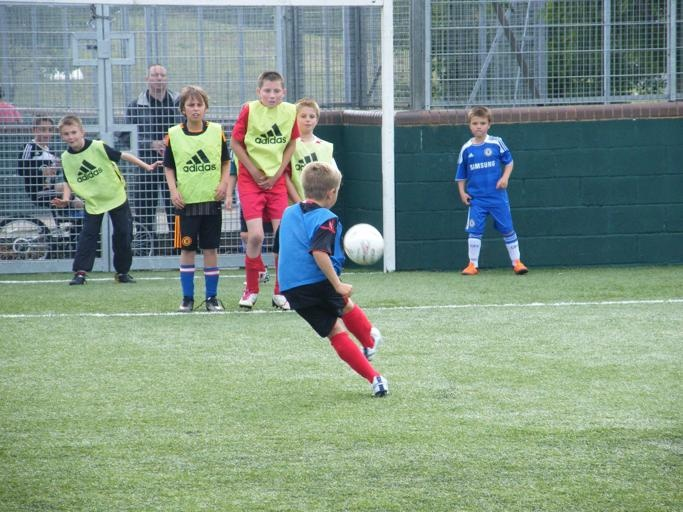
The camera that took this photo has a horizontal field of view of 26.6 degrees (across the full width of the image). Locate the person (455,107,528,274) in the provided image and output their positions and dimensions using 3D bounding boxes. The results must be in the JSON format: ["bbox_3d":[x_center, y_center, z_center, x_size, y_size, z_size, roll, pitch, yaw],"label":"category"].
[{"bbox_3d":[1.411,-0.615,13.676,0.664,1.613,0.597,1,15,4],"label":"person"}]

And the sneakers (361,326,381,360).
[{"bbox_3d":[0.226,0.603,10.077,0.107,0.246,0.089,19,-16,-27],"label":"sneakers"}]

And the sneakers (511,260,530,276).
[{"bbox_3d":[1.688,0.095,13.688,0.099,0.061,0.155,-2,28,-5],"label":"sneakers"}]

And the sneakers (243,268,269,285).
[{"bbox_3d":[-0.759,0.170,13.572,0.101,0.140,0.302,-2,-7,11],"label":"sneakers"}]

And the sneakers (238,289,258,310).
[{"bbox_3d":[-0.771,0.343,11.946,0.145,0.183,0.248,-1,15,-5],"label":"sneakers"}]

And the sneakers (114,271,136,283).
[{"bbox_3d":[-2.018,0.184,13.470,0.164,0.068,0.090,2,2,2],"label":"sneakers"}]

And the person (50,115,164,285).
[{"bbox_3d":[-2.284,-0.526,13.290,0.693,1.529,0.444,-3,15,-10],"label":"person"}]

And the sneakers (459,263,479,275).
[{"bbox_3d":[1.218,0.117,13.685,0.072,0.095,0.215,-4,-5,29],"label":"sneakers"}]

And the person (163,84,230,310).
[{"bbox_3d":[-1.158,-0.463,11.779,0.539,1.829,0.506,-3,15,-9],"label":"person"}]

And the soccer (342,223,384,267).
[{"bbox_3d":[0.141,-0.076,10.611,0.288,0.325,0.306,-3,0,16],"label":"soccer"}]

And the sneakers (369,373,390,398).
[{"bbox_3d":[0.250,0.866,9.703,0.147,0.151,0.317,0,4,-1],"label":"sneakers"}]

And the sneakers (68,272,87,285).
[{"bbox_3d":[-2.435,0.203,13.347,0.076,0.093,0.205,1,-5,-1],"label":"sneakers"}]

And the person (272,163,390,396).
[{"bbox_3d":[-0.039,0.123,9.832,0.835,1.464,0.412,7,17,26],"label":"person"}]
